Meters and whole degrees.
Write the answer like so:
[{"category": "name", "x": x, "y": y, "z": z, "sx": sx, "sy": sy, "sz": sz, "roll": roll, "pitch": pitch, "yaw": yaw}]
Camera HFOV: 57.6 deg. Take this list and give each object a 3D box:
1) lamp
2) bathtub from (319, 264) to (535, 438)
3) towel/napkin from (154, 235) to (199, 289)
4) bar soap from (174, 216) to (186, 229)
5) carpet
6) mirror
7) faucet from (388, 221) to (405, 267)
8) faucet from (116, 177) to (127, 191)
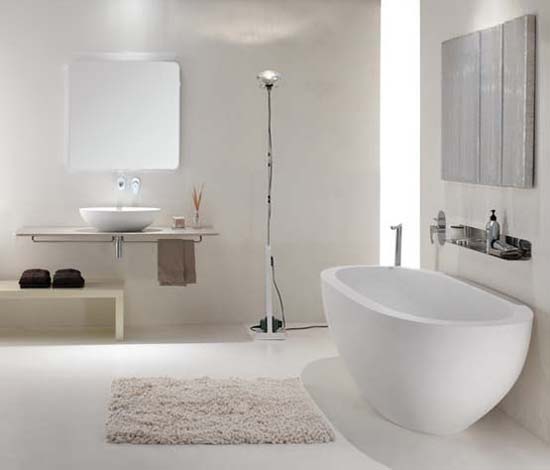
[{"category": "lamp", "x": -0.057, "y": -0.240, "z": 4.098, "sx": 0.306, "sy": 2.091, "sz": 0.558, "roll": 0, "pitch": 8, "yaw": 1}, {"category": "bathtub", "x": 0.748, "y": 0.609, "z": 2.847, "sx": 0.838, "sy": 0.670, "sz": 1.295, "roll": -3, "pitch": 9, "yaw": -21}, {"category": "towel/napkin", "x": -0.798, "y": 0.195, "z": 3.974, "sx": 0.336, "sy": 0.428, "sz": 0.093, "roll": 1, "pitch": 2, "yaw": -7}, {"category": "bar soap", "x": -0.782, "y": -0.115, "z": 4.113, "sx": 0.079, "sy": 0.071, "sz": 0.085, "roll": 0, "pitch": 3, "yaw": -15}, {"category": "carpet", "x": -0.335, "y": 0.950, "z": 2.790, "sx": 1.261, "sy": 0.052, "sz": 0.703, "roll": 0, "pitch": 9, "yaw": -1}, {"category": "mirror", "x": -1.282, "y": -1.020, "z": 4.139, "sx": 0.857, "sy": 1.022, "sz": 0.130, "roll": 0, "pitch": 0, "yaw": -4}, {"category": "faucet", "x": 0.864, "y": 0.074, "z": 3.537, "sx": 0.082, "sy": 0.310, "sz": 0.052, "roll": 3, "pitch": -4, "yaw": -19}, {"category": "faucet", "x": -1.275, "y": -0.428, "z": 4.164, "sx": 0.071, "sy": 0.108, "sz": 0.049, "roll": -3, "pitch": 9, "yaw": -19}]
